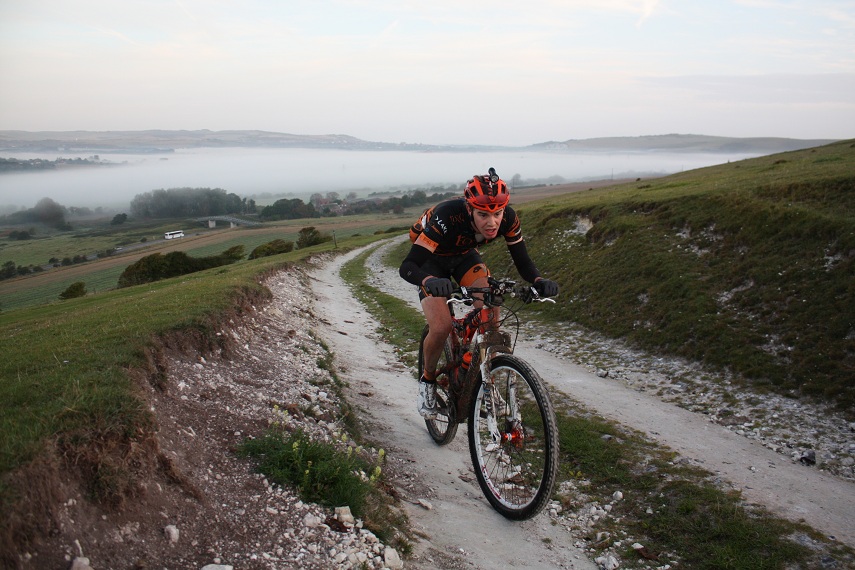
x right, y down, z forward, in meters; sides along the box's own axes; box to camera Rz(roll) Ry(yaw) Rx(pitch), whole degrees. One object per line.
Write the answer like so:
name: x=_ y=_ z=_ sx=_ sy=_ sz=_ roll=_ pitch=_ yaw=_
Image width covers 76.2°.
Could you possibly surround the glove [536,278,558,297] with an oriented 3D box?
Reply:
glove: x=2.362 y=0.047 z=10.882 sx=0.238 sy=0.241 sz=0.596 roll=6 pitch=5 yaw=-6
